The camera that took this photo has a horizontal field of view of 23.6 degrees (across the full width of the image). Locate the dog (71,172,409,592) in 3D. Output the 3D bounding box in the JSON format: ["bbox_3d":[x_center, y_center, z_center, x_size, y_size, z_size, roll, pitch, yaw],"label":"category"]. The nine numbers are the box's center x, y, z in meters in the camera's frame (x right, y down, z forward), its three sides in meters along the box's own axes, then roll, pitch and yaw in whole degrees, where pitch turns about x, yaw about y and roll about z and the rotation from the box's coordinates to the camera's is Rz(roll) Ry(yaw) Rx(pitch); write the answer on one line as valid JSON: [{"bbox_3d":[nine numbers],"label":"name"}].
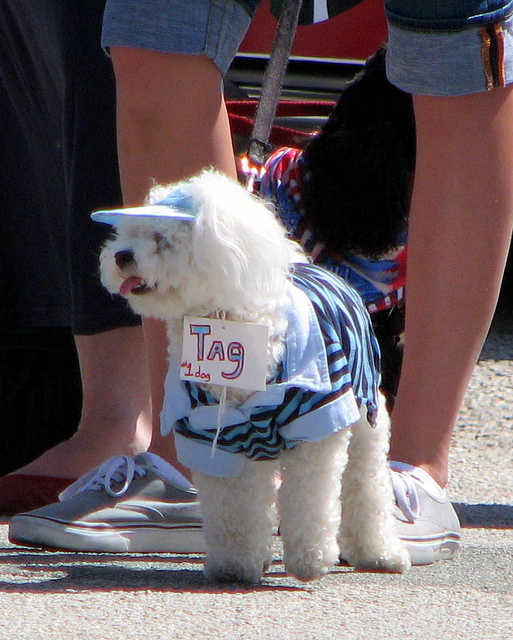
[{"bbox_3d":[0.046,0.121,2.149,0.510,0.610,0.664,-15,51,-19],"label":"dog"}]

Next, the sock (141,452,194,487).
[{"bbox_3d":[-0.169,0.290,2.379,0.064,0.067,0.106,-18,51,-21],"label":"sock"}]
